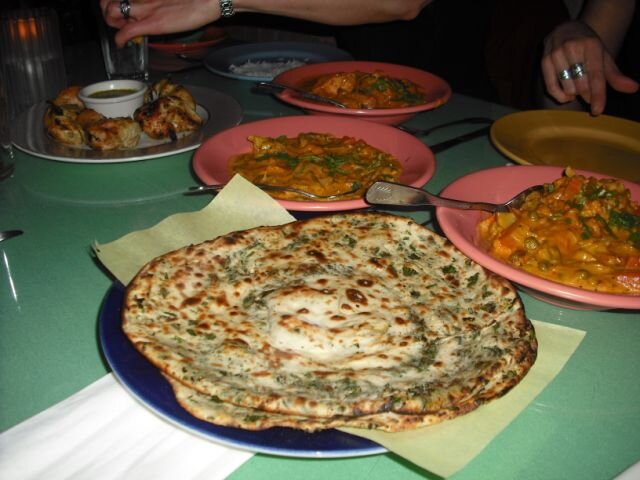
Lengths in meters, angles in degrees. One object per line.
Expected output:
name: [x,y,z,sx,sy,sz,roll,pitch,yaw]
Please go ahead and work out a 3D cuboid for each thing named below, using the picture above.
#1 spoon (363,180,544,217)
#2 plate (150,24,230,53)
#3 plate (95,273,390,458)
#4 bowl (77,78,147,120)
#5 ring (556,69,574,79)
spoon: [0.429,-0.138,1.842,0.675,0.112,0.076,0,66,-42]
plate: [-0.975,-1.480,3.914,0.501,0.087,0.401,3,32,16]
plate: [-0.215,0.278,1.181,0.597,0.075,0.384,12,16,7]
bowl: [-0.989,-0.701,2.568,0.337,0.117,0.294,14,32,21]
ring: [1.354,-0.911,2.870,0.086,0.018,0.063,-3,52,10]
